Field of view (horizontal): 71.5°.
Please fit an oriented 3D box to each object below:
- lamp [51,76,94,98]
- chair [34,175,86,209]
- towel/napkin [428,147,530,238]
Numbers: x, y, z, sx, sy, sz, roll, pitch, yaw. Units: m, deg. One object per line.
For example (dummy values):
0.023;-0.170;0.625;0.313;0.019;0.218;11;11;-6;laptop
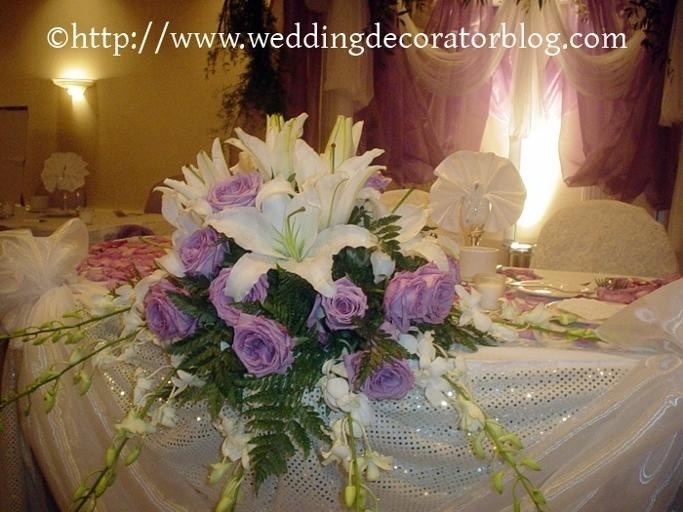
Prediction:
-2.962;-1.856;5.228;0.527;0.229;0.153;4;12;23;lamp
-2.501;-0.565;4.227;0.398;0.240;0.467;2;1;21;chair
0.414;-0.165;1.416;0.245;0.312;0.100;-2;-2;18;towel/napkin
